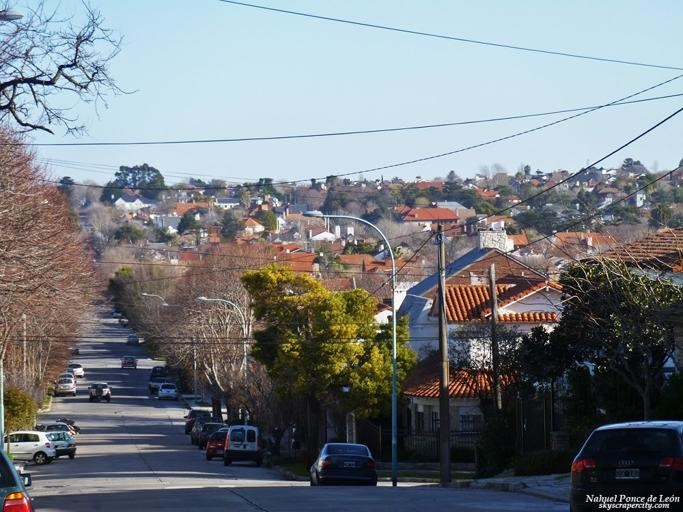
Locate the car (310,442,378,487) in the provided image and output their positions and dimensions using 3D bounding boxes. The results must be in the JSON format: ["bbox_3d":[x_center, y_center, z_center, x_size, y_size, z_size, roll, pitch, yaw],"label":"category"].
[{"bbox_3d":[0.021,8.606,63.732,2.388,1.793,3.066,3,-8,-12],"label":"car"}]
